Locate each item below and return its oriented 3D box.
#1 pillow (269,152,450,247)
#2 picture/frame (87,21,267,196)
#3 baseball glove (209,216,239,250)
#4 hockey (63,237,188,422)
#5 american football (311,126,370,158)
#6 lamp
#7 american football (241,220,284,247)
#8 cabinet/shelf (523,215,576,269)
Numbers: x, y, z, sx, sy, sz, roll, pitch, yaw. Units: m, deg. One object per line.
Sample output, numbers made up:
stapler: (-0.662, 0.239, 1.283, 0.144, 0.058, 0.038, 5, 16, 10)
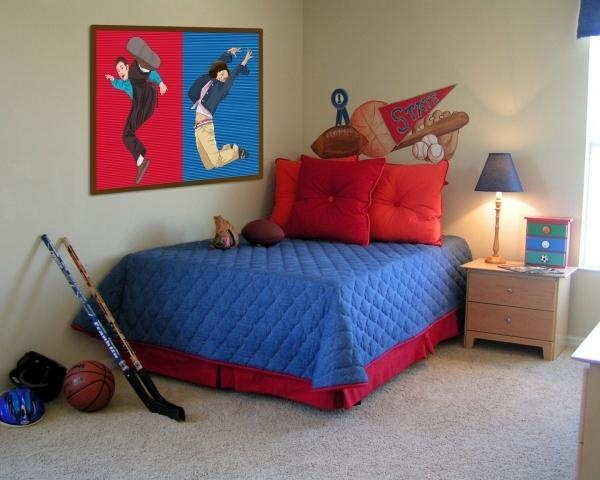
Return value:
pillow: (0.533, -0.278, 3.495, 1.102, 0.727, 0.303, 0, -15, 16)
picture/frame: (-0.830, -0.921, 3.364, 0.047, 1.050, 1.347, 22, 26, 38)
baseball glove: (-0.499, -0.056, 3.225, 0.193, 0.203, 0.166, 1, 8, -36)
hockey: (-0.992, 0.466, 2.583, 0.138, 1.195, 0.120, -33, -8, -19)
american football: (0.347, -0.855, 4.209, 0.464, 0.289, 0.079, 0, 3, 31)
lamp: (1.442, -0.224, 3.503, 0.321, 0.780, 0.362, 3, 11, 24)
american football: (-0.258, -0.065, 3.282, 0.224, 0.146, 0.170, 7, 16, -13)
cabinet/shelf: (1.695, 0.017, 3.317, 0.279, 0.363, 0.208, 9, 10, 37)
